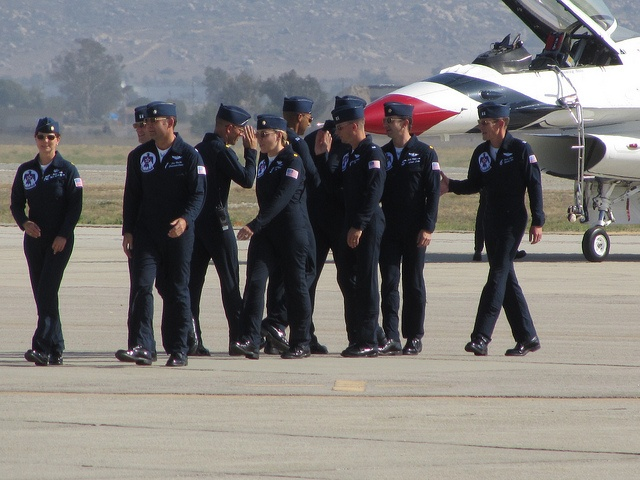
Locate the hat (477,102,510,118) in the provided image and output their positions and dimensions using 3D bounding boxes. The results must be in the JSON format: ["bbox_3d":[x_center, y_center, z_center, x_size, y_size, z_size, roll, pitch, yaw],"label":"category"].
[{"bbox_3d":[2.103,-1.538,17.990,0.328,0.148,0.258,0,7,-1],"label":"hat"}]

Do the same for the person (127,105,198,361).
[{"bbox_3d":[-1.779,-0.100,17.308,0.939,2.930,0.795,1,11,-5],"label":"person"}]

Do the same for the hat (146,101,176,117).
[{"bbox_3d":[-1.803,-1.485,17.207,0.243,0.117,0.218,2,5,8],"label":"hat"}]

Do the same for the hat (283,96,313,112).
[{"bbox_3d":[-0.216,-1.635,18.167,0.202,0.127,0.273,2,4,37],"label":"hat"}]

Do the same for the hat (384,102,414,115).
[{"bbox_3d":[0.943,-1.533,17.792,0.233,0.114,0.184,-1,1,-6],"label":"hat"}]

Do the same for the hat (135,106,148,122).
[{"bbox_3d":[-2.217,-1.559,18.738,0.223,0.227,0.249,0,-5,-8],"label":"hat"}]

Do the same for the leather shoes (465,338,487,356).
[{"bbox_3d":[1.884,1.208,17.869,0.306,0.140,0.128,16,-6,-35],"label":"leather shoes"}]

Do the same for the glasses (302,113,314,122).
[{"bbox_3d":[-0.139,-1.485,18.252,0.031,0.098,0.100,-17,-7,30],"label":"glasses"}]

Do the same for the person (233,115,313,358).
[{"bbox_3d":[-0.498,-0.061,17.660,0.878,2.768,0.655,2,11,-2],"label":"person"}]

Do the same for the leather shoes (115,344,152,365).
[{"bbox_3d":[-2.080,1.250,17.152,0.406,0.174,0.171,14,-1,-24],"label":"leather shoes"}]

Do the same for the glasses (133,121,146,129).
[{"bbox_3d":[-2.186,-1.412,18.583,0.108,0.107,0.033,-4,13,39],"label":"glasses"}]

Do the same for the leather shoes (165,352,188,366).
[{"bbox_3d":[-1.615,1.325,17.336,0.113,0.120,0.254,0,-9,5],"label":"leather shoes"}]

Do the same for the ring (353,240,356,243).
[{"bbox_3d":[0.428,-0.012,17.597,0.045,0.045,0.020,-1,11,-15],"label":"ring"}]

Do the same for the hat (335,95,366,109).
[{"bbox_3d":[0.372,-1.654,17.813,0.258,0.091,0.195,2,-5,-16],"label":"hat"}]

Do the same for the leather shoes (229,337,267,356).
[{"bbox_3d":[-0.839,1.205,17.672,0.355,0.167,0.146,19,-5,-19],"label":"leather shoes"}]

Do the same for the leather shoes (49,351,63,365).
[{"bbox_3d":[-3.021,1.313,17.347,0.149,0.100,0.051,-2,1,-32],"label":"leather shoes"}]

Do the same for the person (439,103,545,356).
[{"bbox_3d":[2.207,-0.172,18.067,1.028,2.857,1.047,2,11,-1],"label":"person"}]

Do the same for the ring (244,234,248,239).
[{"bbox_3d":[-0.838,-0.075,17.344,0.047,0.041,0.011,4,25,-13],"label":"ring"}]

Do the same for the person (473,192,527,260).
[{"bbox_3d":[2.282,-0.203,18.964,0.312,0.910,0.864,-21,28,-36],"label":"person"}]

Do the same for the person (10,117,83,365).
[{"bbox_3d":[-3.156,-0.040,17.482,0.795,2.716,0.939,0,11,-13],"label":"person"}]

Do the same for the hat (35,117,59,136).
[{"bbox_3d":[-3.130,-1.315,17.422,0.184,0.149,0.249,1,-3,-2],"label":"hat"}]

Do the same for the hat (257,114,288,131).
[{"bbox_3d":[-0.538,-1.376,17.637,0.268,0.100,0.193,3,-3,-40],"label":"hat"}]

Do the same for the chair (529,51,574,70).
[{"bbox_3d":[3.673,-2.822,23.860,0.524,0.202,0.373,-2,4,7],"label":"chair"}]

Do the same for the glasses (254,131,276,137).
[{"bbox_3d":[-0.663,-1.239,17.613,0.176,0.082,0.053,9,13,31],"label":"glasses"}]

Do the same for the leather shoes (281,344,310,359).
[{"bbox_3d":[-0.266,1.266,17.783,0.322,0.136,0.132,2,0,-23],"label":"leather shoes"}]

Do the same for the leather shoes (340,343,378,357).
[{"bbox_3d":[0.496,1.243,17.824,0.353,0.138,0.163,4,-5,-8],"label":"leather shoes"}]

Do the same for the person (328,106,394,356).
[{"bbox_3d":[0.485,-0.165,17.829,0.611,2.931,0.714,-1,11,-17],"label":"person"}]

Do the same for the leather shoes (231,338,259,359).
[{"bbox_3d":[-0.855,1.215,17.675,0.348,0.169,0.144,29,-8,-15],"label":"leather shoes"}]

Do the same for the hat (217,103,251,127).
[{"bbox_3d":[-1.002,-1.478,17.870,0.345,0.168,0.254,11,6,-16],"label":"hat"}]

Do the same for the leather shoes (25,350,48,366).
[{"bbox_3d":[-3.206,1.289,17.319,0.324,0.128,0.118,15,21,-4],"label":"leather shoes"}]
